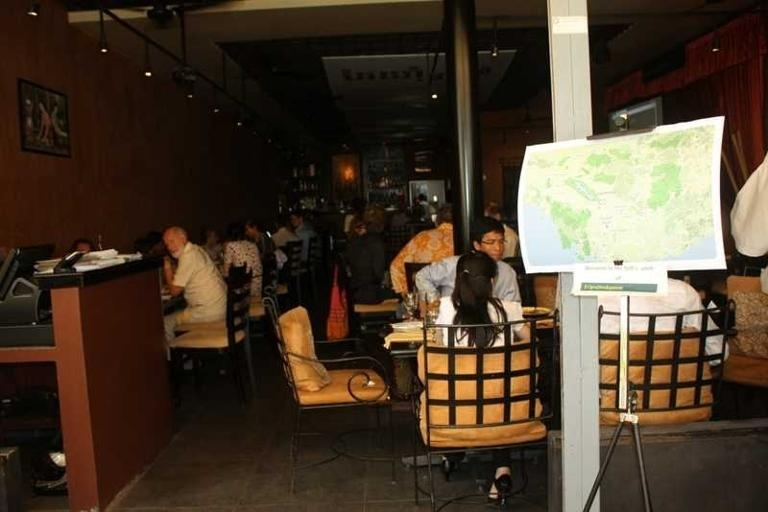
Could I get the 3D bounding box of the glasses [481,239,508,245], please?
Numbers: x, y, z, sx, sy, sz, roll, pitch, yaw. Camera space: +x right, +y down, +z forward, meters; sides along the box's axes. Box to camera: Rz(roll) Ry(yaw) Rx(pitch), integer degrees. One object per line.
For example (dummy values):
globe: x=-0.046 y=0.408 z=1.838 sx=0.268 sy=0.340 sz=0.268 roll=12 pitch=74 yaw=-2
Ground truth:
glasses: x=0.868 y=-0.108 z=5.141 sx=0.187 sy=0.049 sz=0.067 roll=-5 pitch=4 yaw=-18

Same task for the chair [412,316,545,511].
chair: x=0.632 y=0.848 z=4.324 sx=0.890 sy=0.790 sz=0.756 roll=-2 pitch=0 yaw=11

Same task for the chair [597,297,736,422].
chair: x=1.706 y=0.668 z=4.278 sx=0.801 sy=1.056 sz=0.844 roll=0 pitch=9 yaw=6

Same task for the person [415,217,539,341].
person: x=0.673 y=0.094 z=4.986 sx=0.929 sy=1.393 sz=0.804 roll=1 pitch=47 yaw=0

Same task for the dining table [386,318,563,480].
dining table: x=0.631 y=0.814 z=4.343 sx=0.880 sy=1.051 sz=0.867 roll=-2 pitch=14 yaw=-1

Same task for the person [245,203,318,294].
person: x=-1.359 y=0.021 z=9.734 sx=1.145 sy=1.703 sz=1.119 roll=0 pitch=3 yaw=-18

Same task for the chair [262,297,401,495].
chair: x=-0.394 y=0.964 z=5.037 sx=1.030 sy=1.380 sz=1.026 roll=-3 pitch=0 yaw=13

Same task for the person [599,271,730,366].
person: x=1.686 y=0.407 z=3.958 sx=0.447 sy=0.783 sz=0.540 roll=-3 pitch=33 yaw=14
